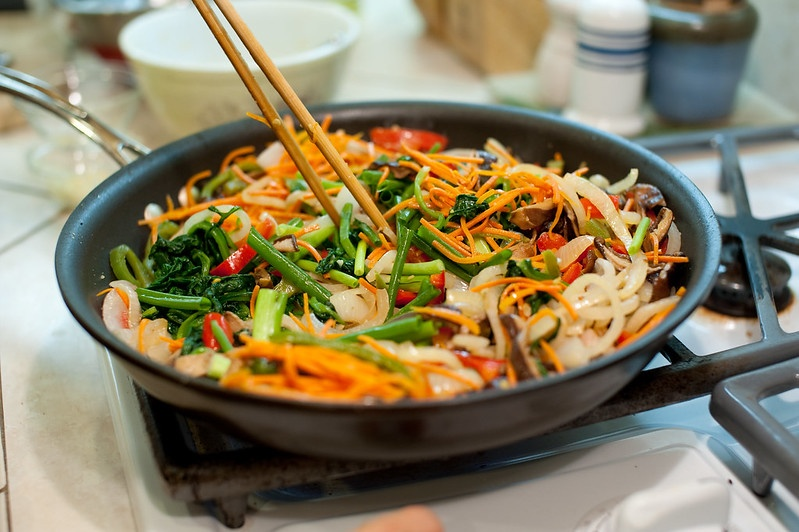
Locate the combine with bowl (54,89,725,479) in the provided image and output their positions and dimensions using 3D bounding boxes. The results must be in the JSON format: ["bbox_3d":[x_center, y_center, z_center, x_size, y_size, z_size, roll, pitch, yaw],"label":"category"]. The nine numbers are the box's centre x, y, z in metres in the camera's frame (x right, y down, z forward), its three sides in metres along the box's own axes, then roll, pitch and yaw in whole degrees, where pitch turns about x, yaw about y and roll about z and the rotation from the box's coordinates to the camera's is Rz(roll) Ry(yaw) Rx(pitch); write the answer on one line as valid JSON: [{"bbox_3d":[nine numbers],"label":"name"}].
[{"bbox_3d":[-0.017,-0.055,1.038,0.985,0.236,0.734,-13,57,-4],"label":"combine with bowl"}]
